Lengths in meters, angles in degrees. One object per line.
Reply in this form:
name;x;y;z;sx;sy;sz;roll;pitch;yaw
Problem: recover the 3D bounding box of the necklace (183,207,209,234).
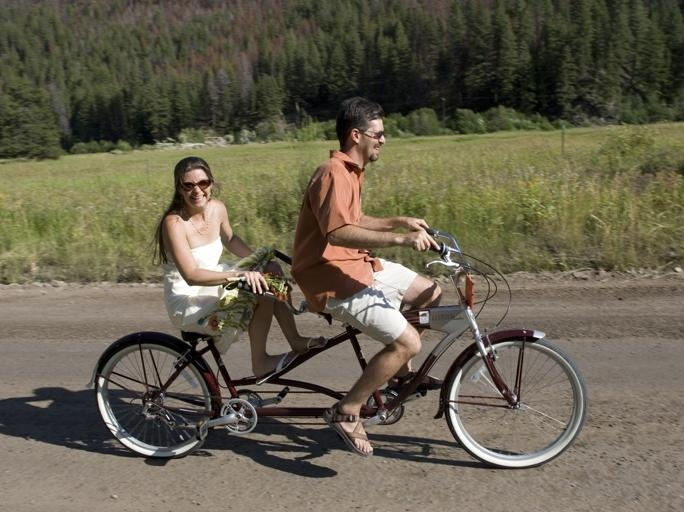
necklace;-1.564;-0.358;9.016;0.247;0.225;0.095;-14;1;-34
